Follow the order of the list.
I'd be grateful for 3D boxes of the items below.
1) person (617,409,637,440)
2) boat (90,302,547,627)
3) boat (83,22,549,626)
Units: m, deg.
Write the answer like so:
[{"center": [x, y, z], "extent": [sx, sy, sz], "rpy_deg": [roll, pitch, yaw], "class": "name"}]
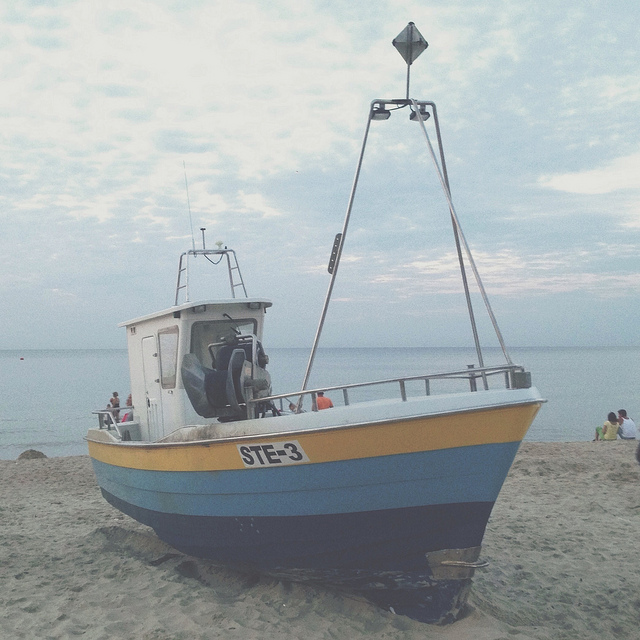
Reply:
[{"center": [6.783, 2.286, 17.725], "extent": [0.363, 0.533, 0.967], "rpy_deg": [-1, -1, 19], "class": "person"}, {"center": [-0.100, 1.621, 8.478], "extent": [4.332, 2.947, 1.446], "rpy_deg": [-1, -1, 37], "class": "boat"}, {"center": [-0.275, 0.008, 9.058], "extent": [3.758, 6.193, 3.948], "rpy_deg": [-1, -1, -17], "class": "boat"}]
